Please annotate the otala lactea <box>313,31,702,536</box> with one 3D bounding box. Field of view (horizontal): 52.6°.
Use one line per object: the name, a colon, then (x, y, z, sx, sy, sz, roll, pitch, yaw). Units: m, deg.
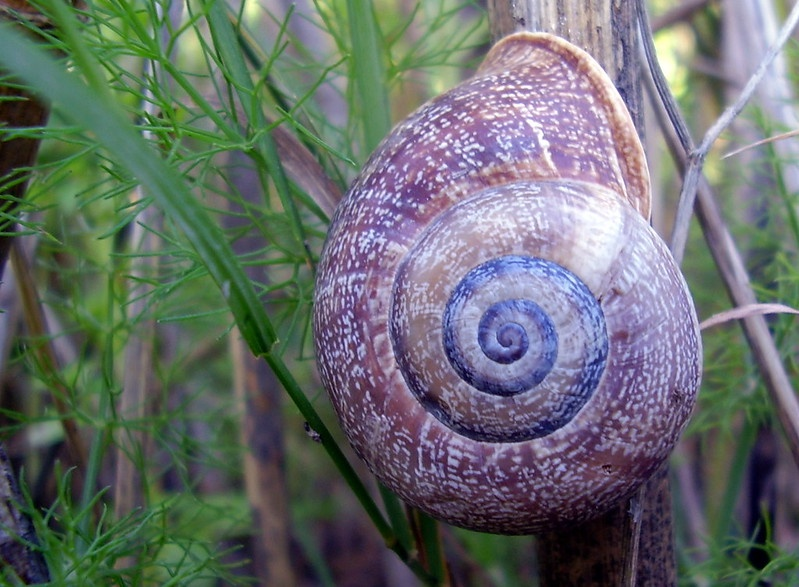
otala lactea: (0.144, 0.033, 1.180, 0.431, 0.637, 0.304, 2, -5, 1)
